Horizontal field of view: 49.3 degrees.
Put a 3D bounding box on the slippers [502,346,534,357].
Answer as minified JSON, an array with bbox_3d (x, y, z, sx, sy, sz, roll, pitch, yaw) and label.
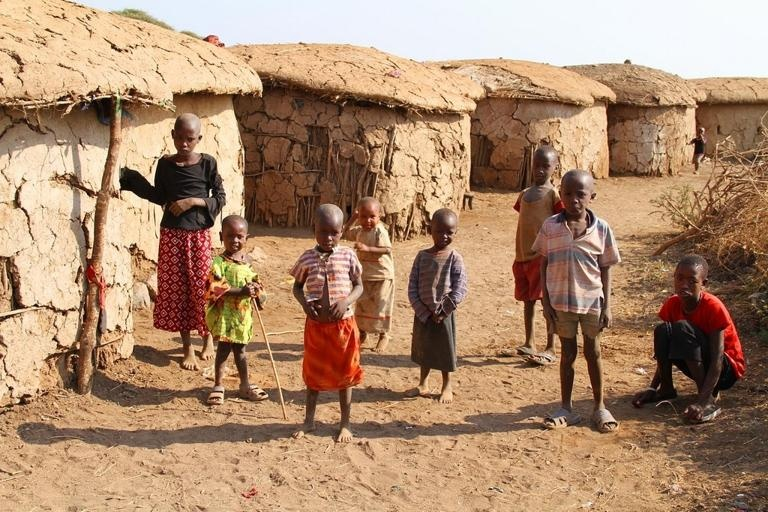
[{"bbox_3d":[1.328,0.947,8.319,0.276,0.065,0.118,2,-5,1],"label":"slippers"}]

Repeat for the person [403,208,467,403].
[{"bbox_3d":[0.452,0.301,7.267,0.493,1.403,0.337,0,0,13],"label":"person"}]

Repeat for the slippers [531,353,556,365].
[{"bbox_3d":[1.551,1.010,8.136,0.248,0.060,0.094,4,-3,-27],"label":"slippers"}]

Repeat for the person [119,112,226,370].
[{"bbox_3d":[-1.872,0.051,7.618,0.684,2.001,0.461,0,0,25],"label":"person"}]

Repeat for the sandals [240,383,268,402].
[{"bbox_3d":[-1.151,1.221,7.449,0.267,0.095,0.122,3,7,22],"label":"sandals"}]

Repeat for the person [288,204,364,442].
[{"bbox_3d":[-0.465,0.560,6.837,0.574,1.953,0.434,0,0,-14],"label":"person"}]

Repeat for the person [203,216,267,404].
[{"bbox_3d":[-1.273,0.476,7.322,0.534,1.657,0.459,0,0,-8],"label":"person"}]

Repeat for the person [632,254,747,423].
[{"bbox_3d":[2.631,0.701,7.186,0.828,1.407,0.432,0,0,19],"label":"person"}]

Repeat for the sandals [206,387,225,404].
[{"bbox_3d":[-1.459,1.229,7.309,0.140,0.096,0.340,0,-6,-8],"label":"sandals"}]

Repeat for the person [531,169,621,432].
[{"bbox_3d":[1.586,0.383,6.979,0.708,2.174,0.454,0,0,12],"label":"person"}]

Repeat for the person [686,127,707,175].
[{"bbox_3d":[7.293,-2.468,19.666,0.426,1.286,1.353,-4,14,14],"label":"person"}]

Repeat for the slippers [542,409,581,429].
[{"bbox_3d":[1.489,1.389,7.087,0.339,0.105,0.137,0,0,-21],"label":"slippers"}]
